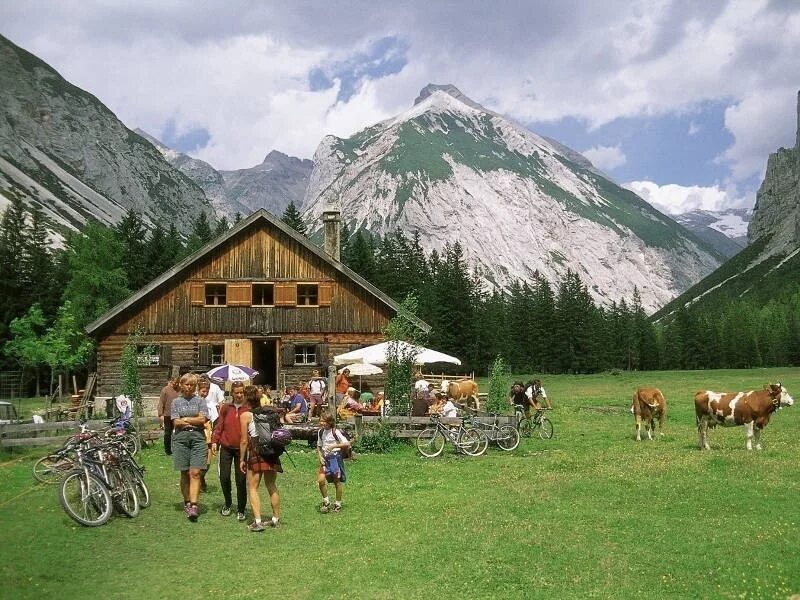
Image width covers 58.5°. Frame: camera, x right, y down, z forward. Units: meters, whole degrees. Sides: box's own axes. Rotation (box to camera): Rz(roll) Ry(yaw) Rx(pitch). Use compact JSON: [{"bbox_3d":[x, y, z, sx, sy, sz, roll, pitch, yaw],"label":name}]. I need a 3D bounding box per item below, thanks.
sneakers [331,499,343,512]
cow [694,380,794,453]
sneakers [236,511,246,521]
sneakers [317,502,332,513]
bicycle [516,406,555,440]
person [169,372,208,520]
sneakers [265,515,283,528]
[{"bbox_3d":[-1.864,6.243,21.506,0.164,0.240,0.345,-2,-38,20],"label":"sneakers"},{"bbox_3d":[14.391,4.923,29.660,3.546,2.736,1.239,-4,-22,27],"label":"cow"},{"bbox_3d":[-4.448,6.104,20.136,0.147,0.135,0.299,1,-1,3],"label":"sneakers"},{"bbox_3d":[-2.218,6.200,21.355,0.233,0.195,0.607,-12,-5,-8],"label":"sneakers"},{"bbox_3d":[6.197,5.613,32.749,1.178,1.483,2.322,8,-6,-43],"label":"bicycle"},{"bbox_3d":[-5.902,4.127,20.134,0.958,3.956,1.261,-1,6,-18],"label":"person"},{"bbox_3d":[-3.577,6.238,20.063,0.563,0.263,0.211,-4,-15,38],"label":"sneakers"}]
